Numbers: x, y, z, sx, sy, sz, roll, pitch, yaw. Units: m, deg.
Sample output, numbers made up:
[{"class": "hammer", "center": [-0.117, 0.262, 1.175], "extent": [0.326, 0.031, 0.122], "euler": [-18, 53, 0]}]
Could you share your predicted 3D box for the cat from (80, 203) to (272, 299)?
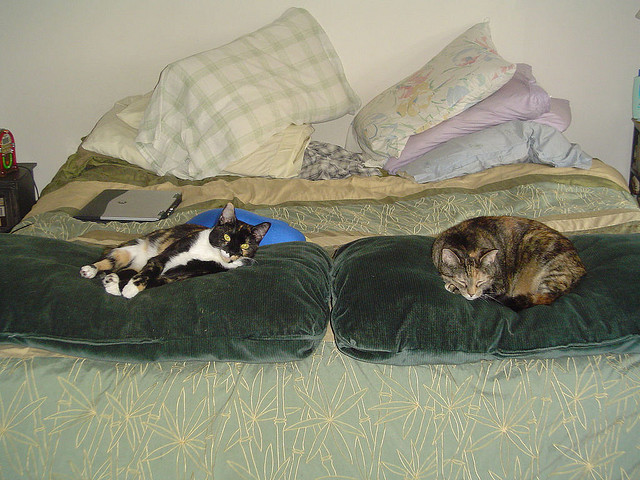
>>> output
[{"class": "cat", "center": [-0.477, 0.038, 1.795], "extent": [0.180, 0.356, 0.688], "euler": [42, -17, -33]}]

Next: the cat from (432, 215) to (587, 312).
[{"class": "cat", "center": [0.632, 0.048, 1.662], "extent": [0.382, 0.286, 0.144], "euler": [-23, -48, -30]}]
